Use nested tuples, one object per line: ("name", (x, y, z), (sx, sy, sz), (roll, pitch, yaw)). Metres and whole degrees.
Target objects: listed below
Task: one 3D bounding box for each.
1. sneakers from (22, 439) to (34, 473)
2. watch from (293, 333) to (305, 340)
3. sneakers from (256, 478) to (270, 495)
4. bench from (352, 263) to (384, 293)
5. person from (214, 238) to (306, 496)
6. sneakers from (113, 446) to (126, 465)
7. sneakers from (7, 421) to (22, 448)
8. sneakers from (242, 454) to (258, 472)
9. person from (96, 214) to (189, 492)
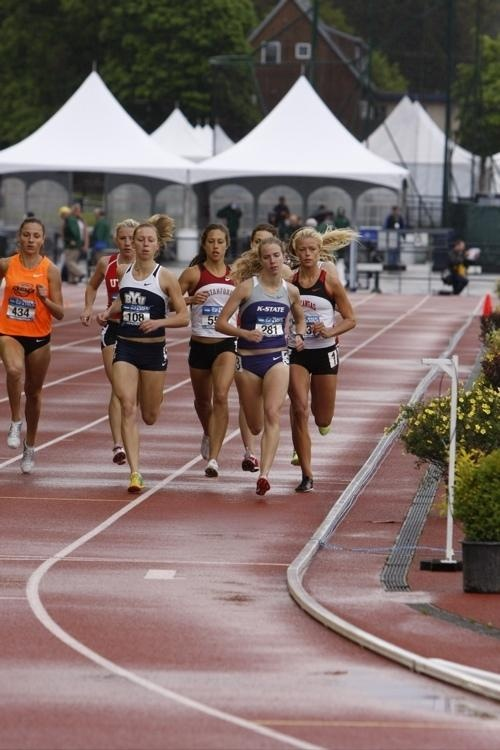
("sneakers", (-1.931, 0.721, 9.061), (0.107, 0.267, 0.118), (-1, 9, -14))
("watch", (0.396, -0.289, 8.237), (0.076, 0.034, 0.055), (18, -6, -2))
("sneakers", (0.107, 0.882, 8.085), (0.078, 0.080, 0.184), (5, -39, -3))
("bench", (4.064, -3.270, 35.637), (0.859, 0.957, 1.464), (2, 5, 6))
("person", (0.081, -0.033, 8.275), (0.660, 2.080, 0.838), (4, 10, 15))
("sneakers", (-1.100, 0.701, 8.874), (0.110, 0.104, 0.240), (-10, -19, -14))
("sneakers", (-2.111, 0.553, 9.340), (0.131, 0.351, 0.145), (4, -27, -13))
("sneakers", (0.005, 0.778, 8.780), (0.082, 0.095, 0.218), (-17, -29, 18))
("person", (-0.851, -0.138, 8.582), (0.656, 2.212, 1.341), (0, 9, -8))
